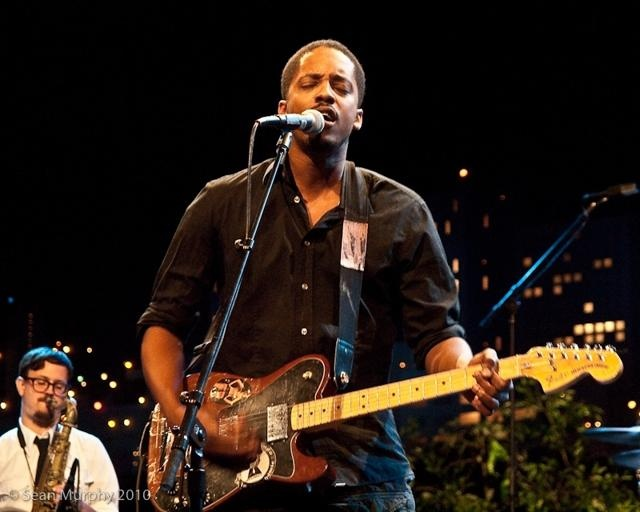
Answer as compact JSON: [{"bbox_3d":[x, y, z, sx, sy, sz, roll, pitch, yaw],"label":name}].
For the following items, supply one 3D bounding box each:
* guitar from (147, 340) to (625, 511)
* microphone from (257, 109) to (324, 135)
[{"bbox_3d":[0.138,0.873,3.716,2.235,0.912,0.138,-1,-10,16],"label":"guitar"},{"bbox_3d":[-0.149,-0.669,3.957,0.133,0.171,0.391,-2,-3,43],"label":"microphone"}]
